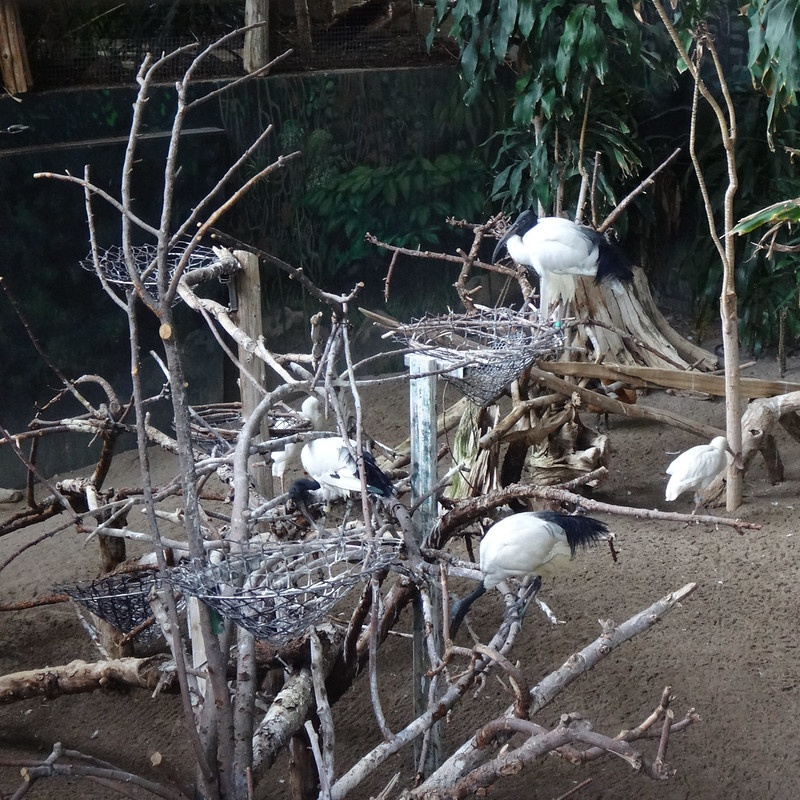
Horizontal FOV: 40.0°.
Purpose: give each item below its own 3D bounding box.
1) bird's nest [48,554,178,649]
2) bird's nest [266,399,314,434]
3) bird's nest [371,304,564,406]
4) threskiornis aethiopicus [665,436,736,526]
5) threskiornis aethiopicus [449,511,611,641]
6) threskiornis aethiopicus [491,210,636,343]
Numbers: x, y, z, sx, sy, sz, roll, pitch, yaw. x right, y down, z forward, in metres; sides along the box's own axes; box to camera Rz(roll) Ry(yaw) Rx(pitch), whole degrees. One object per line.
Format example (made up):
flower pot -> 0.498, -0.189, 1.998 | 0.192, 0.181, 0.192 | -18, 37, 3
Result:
bird's nest -> -0.932, 0.715, 3.788 | 0.314, 0.226, 0.474 | -15, 3, 0
bird's nest -> -0.425, 0.067, 4.371 | 0.191, 0.094, 0.148 | -22, 12, -12
bird's nest -> 0.283, -0.222, 3.978 | 0.480, 0.328, 0.499 | -6, 13, -22
threskiornis aethiopicus -> 1.310, 0.333, 4.800 | 0.289, 0.394, 0.182 | -1, 6, -10
threskiornis aethiopicus -> 0.357, 0.476, 3.213 | 0.579, 0.230, 0.245 | -15, 26, -24
threskiornis aethiopicus -> 0.696, -0.602, 5.144 | 0.485, 0.524, 0.769 | 17, 31, 38
